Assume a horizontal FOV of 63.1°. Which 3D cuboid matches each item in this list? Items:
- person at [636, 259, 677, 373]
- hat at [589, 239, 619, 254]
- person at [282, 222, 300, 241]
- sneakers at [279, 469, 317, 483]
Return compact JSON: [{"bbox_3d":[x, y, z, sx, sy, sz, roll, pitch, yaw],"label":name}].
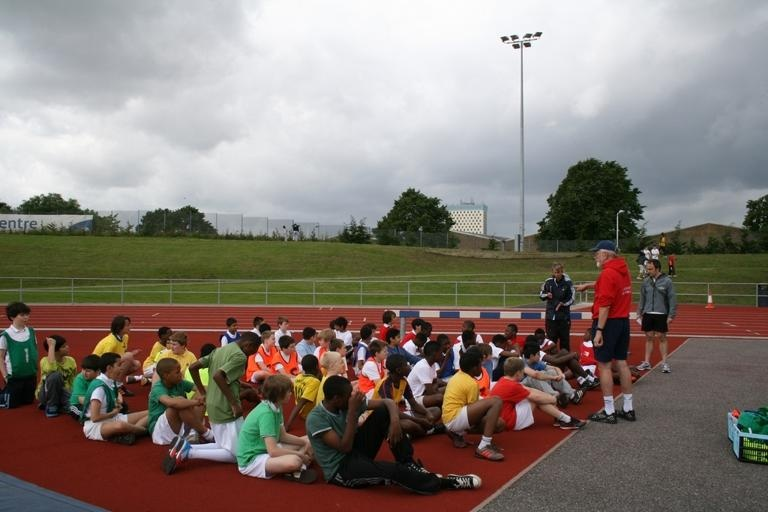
[{"bbox_3d":[6.213,1.337,14.393,0.764,2.561,1.168,0,6,22],"label":"person"},{"bbox_3d":[4.061,-0.163,11.650,0.470,0.257,0.353,2,1,32],"label":"hat"},{"bbox_3d":[-8.566,-2.221,58.216,1.702,1.508,1.168,-3,6,-16],"label":"person"},{"bbox_3d":[-1.282,3.340,9.576,0.495,0.194,0.193,-3,1,12],"label":"sneakers"}]
